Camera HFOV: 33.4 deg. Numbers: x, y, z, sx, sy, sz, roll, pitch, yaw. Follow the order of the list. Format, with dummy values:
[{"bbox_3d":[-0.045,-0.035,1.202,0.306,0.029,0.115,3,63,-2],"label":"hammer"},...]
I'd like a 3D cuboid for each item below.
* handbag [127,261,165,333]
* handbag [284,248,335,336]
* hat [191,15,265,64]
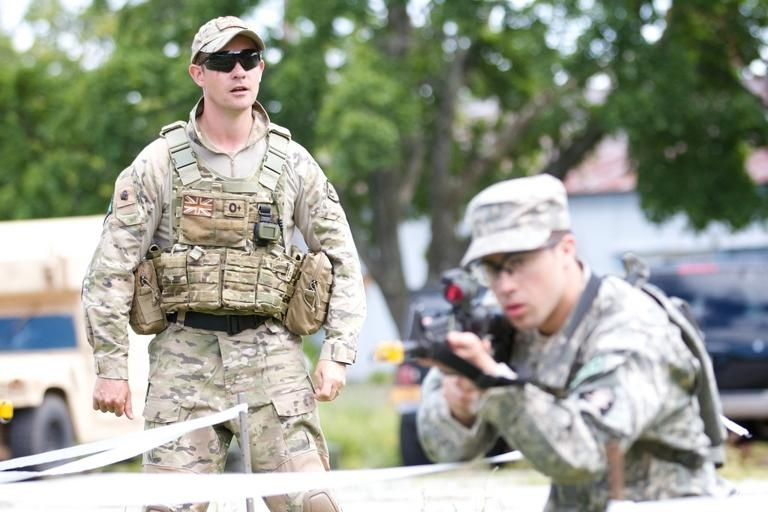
[{"bbox_3d":[-1.586,0.269,8.457,0.236,0.490,0.092,-6,-2,19],"label":"handbag"},{"bbox_3d":[-0.495,0.255,8.535,0.248,0.540,0.462,17,-14,-5],"label":"handbag"},{"bbox_3d":[-1.097,-1.441,8.564,0.324,0.209,0.416,-1,-16,-29],"label":"hat"}]
